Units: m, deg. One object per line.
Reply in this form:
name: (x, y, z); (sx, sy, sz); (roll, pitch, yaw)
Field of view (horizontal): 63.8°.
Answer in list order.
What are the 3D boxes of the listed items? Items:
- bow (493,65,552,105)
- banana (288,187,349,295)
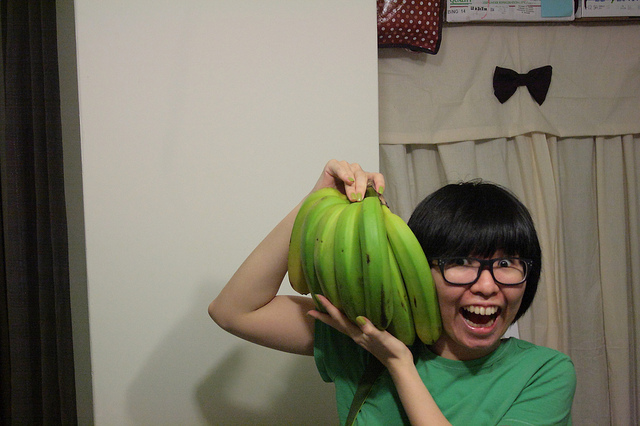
bow: (1.221, -0.789, 3.136); (0.238, 0.187, 0.026); (1, -2, 2)
banana: (-0.002, 0.105, 1.846); (0.089, 0.382, 0.228); (5, 10, 22)
